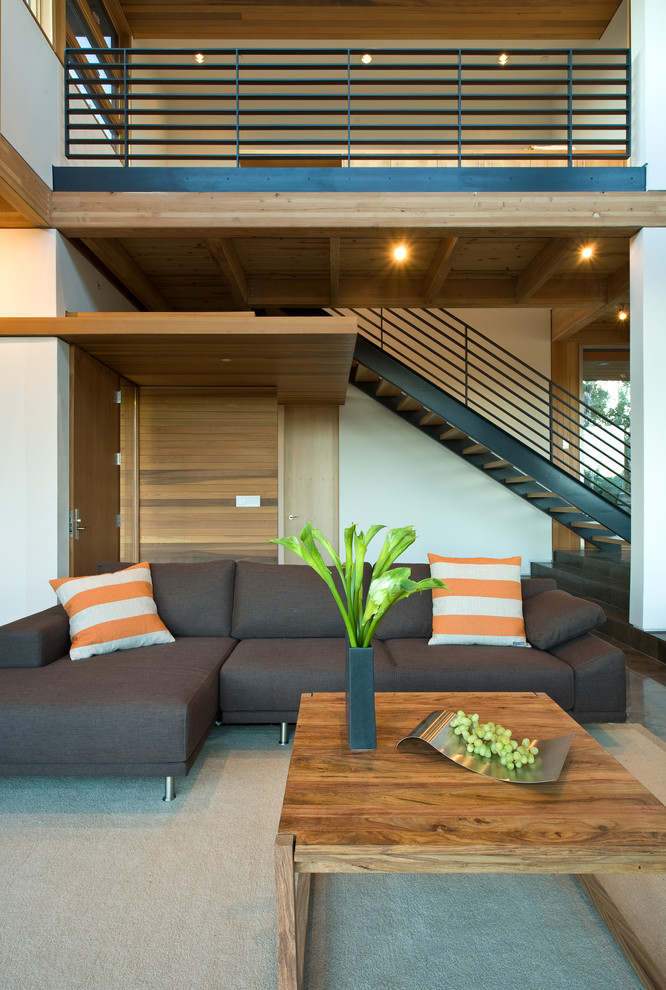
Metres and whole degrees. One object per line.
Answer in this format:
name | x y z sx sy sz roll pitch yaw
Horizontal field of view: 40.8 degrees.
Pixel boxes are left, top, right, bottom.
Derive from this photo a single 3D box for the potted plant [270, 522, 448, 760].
potted plant | 0.109 0.447 2.638 0.563 0.673 0.418 -20 -29 41
